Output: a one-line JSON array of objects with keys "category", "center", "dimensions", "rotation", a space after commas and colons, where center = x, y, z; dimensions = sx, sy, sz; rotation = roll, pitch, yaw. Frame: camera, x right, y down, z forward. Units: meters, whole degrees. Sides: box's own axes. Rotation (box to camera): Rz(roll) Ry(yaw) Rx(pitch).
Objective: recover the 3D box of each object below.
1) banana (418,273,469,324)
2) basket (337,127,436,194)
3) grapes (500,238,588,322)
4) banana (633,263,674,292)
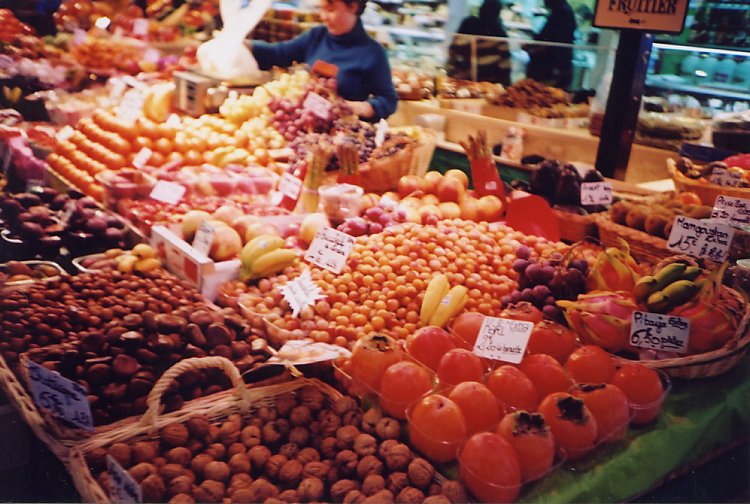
[{"category": "banana", "center": [0.395, 0.274, 3.151], "dimensions": [0.214, 0.225, 0.327], "rotation": [11, 26, 27]}, {"category": "basket", "center": [0.059, -0.809, 4.230], "dimensions": [0.840, 0.497, 0.602], "rotation": [-18, 27, -39]}, {"category": "grapes", "center": [0.979, 0.191, 3.249], "dimensions": [0.448, 0.305, 0.435], "rotation": [15, -20, 0]}, {"category": "banana", "center": [1.530, 0.146, 3.025], "dimensions": [0.185, 0.049, 0.065], "rotation": [-37, 9, -18]}]
